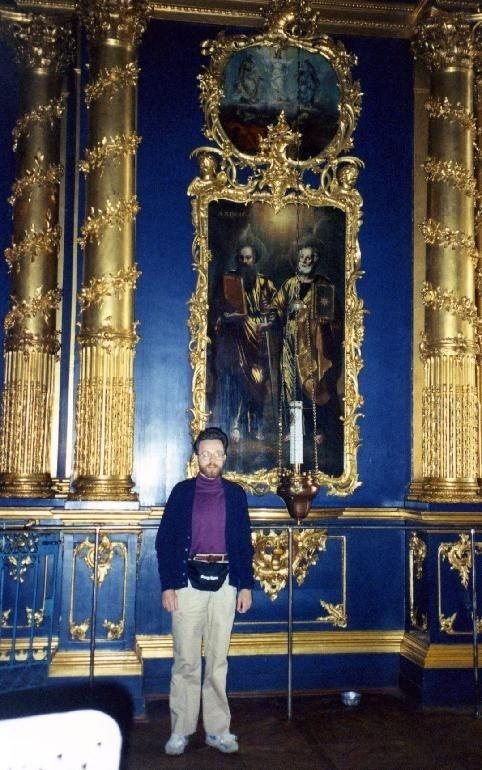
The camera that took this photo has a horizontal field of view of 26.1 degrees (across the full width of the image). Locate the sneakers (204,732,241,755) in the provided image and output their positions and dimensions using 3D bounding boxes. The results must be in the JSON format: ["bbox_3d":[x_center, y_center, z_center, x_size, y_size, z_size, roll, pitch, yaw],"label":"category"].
[{"bbox_3d":[-0.092,1.932,5.567,0.166,0.083,0.076,-14,-20,41],"label":"sneakers"}]

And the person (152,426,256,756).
[{"bbox_3d":[-0.191,1.095,5.578,0.525,1.716,0.278,1,-5,-11],"label":"person"}]

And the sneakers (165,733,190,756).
[{"bbox_3d":[-0.324,1.903,5.528,0.090,0.100,0.187,-3,-6,36],"label":"sneakers"}]
